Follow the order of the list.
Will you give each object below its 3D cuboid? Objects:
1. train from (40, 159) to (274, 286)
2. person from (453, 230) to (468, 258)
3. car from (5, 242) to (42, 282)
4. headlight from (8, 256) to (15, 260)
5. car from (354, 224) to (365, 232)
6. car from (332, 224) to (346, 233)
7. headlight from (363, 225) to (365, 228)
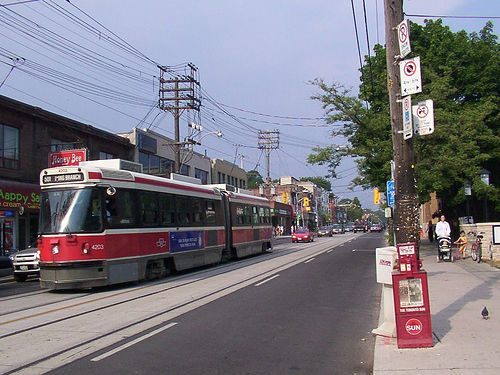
[{"bbox_3d":[-3.569,1.478,19.245,2.294,4.631,10.426,-6,-9,33],"label":"train"},{"bbox_3d":[10.530,2.809,22.673,0.486,1.367,2.371,-5,-9,25],"label":"person"},{"bbox_3d":[-9.777,3.279,19.664,1.483,1.439,2.845,-12,-11,-19],"label":"car"},{"bbox_3d":[-10.176,3.027,19.529,0.282,0.082,0.281,2,-4,-21],"label":"headlight"},{"bbox_3d":[21.730,8.134,91.098,2.077,1.677,2.020,-4,-8,14],"label":"car"},{"bbox_3d":[15.761,7.191,81.914,1.617,1.413,2.786,-4,-11,10],"label":"car"},{"bbox_3d":[22.517,7.726,90.537,0.250,0.512,0.651,-5,-8,23],"label":"headlight"}]
